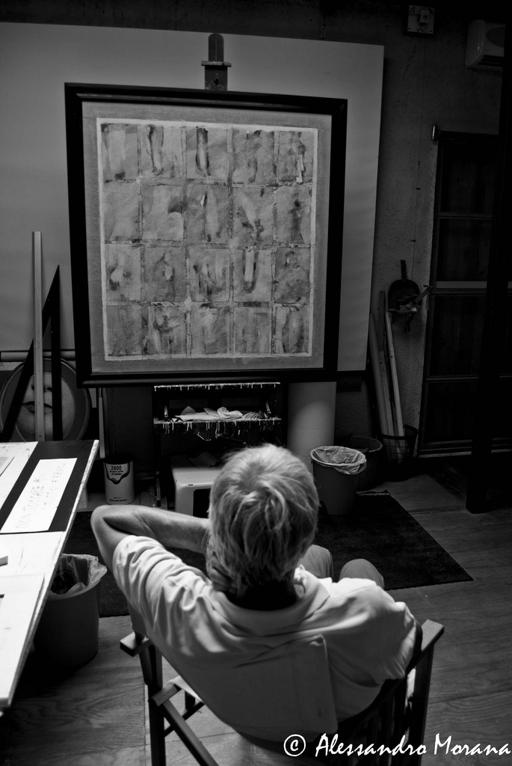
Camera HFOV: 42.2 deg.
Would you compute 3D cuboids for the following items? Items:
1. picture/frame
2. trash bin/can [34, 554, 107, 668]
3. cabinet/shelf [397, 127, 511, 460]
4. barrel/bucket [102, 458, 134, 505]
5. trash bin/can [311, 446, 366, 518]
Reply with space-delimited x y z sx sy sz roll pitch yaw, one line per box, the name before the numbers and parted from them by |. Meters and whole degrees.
picture/frame | -0.241 -0.679 2.998 1.135 1.462 0.055 -2 12 -12
trash bin/can | -0.603 0.741 2.241 0.197 0.221 0.219 7 20 22
cabinet/shelf | 1.243 -0.514 4.151 0.489 2.026 0.141 -3 11 -16
barrel/bucket | -0.720 0.512 3.481 0.159 0.313 0.193 0 4 -1
trash bin/can | 0.400 0.472 3.470 0.289 0.392 0.346 0 9 2
